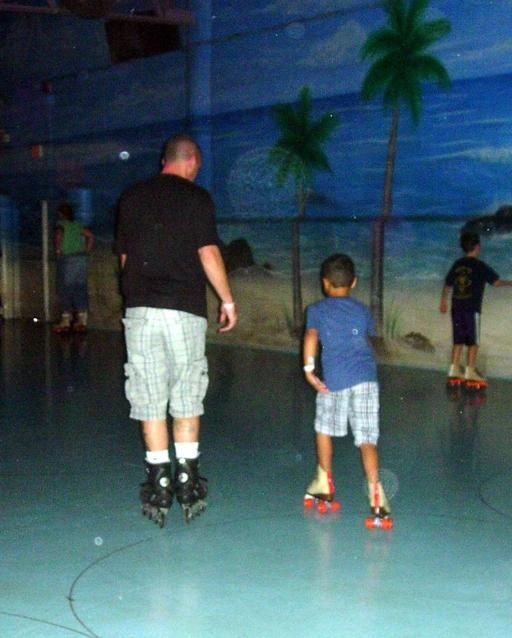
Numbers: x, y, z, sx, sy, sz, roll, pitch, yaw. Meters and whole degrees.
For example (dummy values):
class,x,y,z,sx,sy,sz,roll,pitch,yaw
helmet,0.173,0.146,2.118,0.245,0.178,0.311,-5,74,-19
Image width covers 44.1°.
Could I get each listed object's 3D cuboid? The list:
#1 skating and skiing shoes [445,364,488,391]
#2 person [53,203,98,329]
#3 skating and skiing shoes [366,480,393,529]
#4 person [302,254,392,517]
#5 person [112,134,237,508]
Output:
class,x,y,z,sx,sy,sz,roll,pitch,yaw
skating and skiing shoes,2.049,0.580,6.198,0.338,0.099,0.246,11,-5,-44
person,-2.948,-0.805,10.203,0.621,2.046,0.465,-2,8,-13
skating and skiing shoes,0.525,0.788,2.713,0.113,0.176,0.198,1,6,12
person,0.401,0.292,2.851,0.376,1.159,0.578,0,7,4
person,-0.389,-0.028,2.823,0.510,1.522,0.523,4,10,-11
